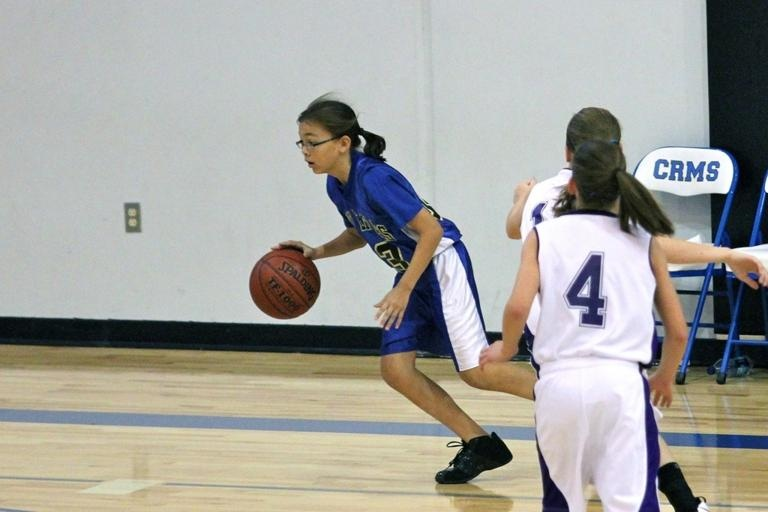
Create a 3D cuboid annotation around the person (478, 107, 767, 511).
[{"bbox_3d":[1.161,0.255,5.780,1.413,1.950,0.687,12,19,41],"label":"person"}]
